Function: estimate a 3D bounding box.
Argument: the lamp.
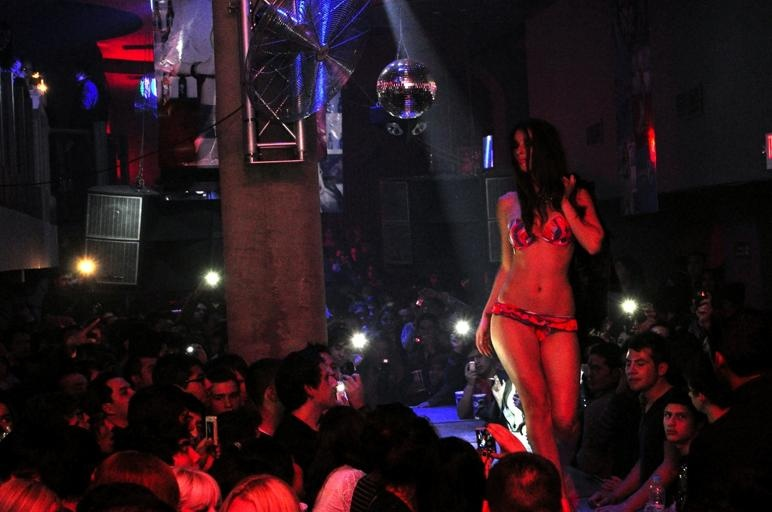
[{"bbox_3d":[0.229,-2.282,8.693,0.845,1.377,0.842,-6,-3,13],"label":"lamp"}]

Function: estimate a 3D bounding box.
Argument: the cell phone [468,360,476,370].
[{"bbox_3d":[1.071,1.390,8.465,0.081,0.130,0.084,-5,-8,30],"label":"cell phone"}]
